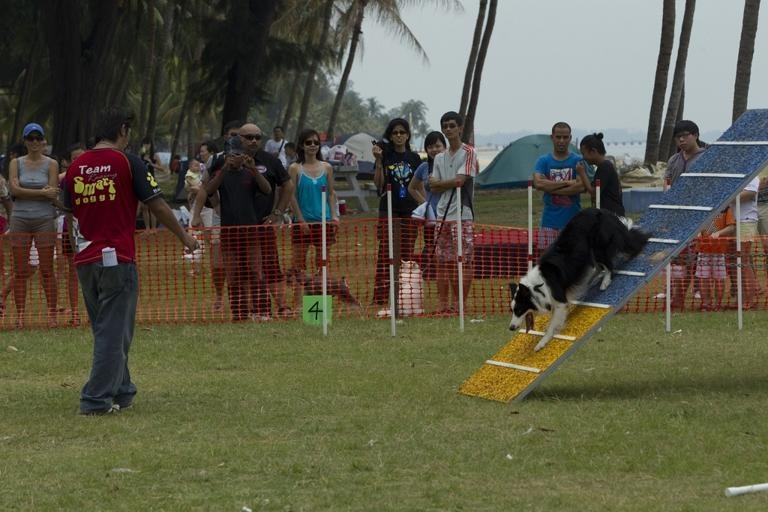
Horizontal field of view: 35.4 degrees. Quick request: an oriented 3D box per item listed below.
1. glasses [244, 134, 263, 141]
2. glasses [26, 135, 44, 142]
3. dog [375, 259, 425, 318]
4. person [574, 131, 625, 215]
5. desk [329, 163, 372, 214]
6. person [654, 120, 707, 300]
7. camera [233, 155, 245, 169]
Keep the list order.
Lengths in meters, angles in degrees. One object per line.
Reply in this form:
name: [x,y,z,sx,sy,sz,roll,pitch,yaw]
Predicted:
glasses: [-1.858,-1.721,17.422,0.318,0.087,0.193,-4,4,-45]
glasses: [-5.042,-1.712,17.406,0.178,0.107,0.246,1,-5,-18]
dog: [0.239,0.471,18.164,0.789,0.860,0.746,-9,-4,35]
person: [3.131,-1.188,17.377,0.589,1.187,1.346,-1,3,9]
desk: [-0.850,-1.794,30.765,1.245,1.264,1.351,-5,8,-10]
person: [4.429,-0.627,17.937,0.653,2.824,1.164,-1,3,13]
camera: [-2.091,-1.359,17.299,0.162,0.158,0.158,8,19,7]
